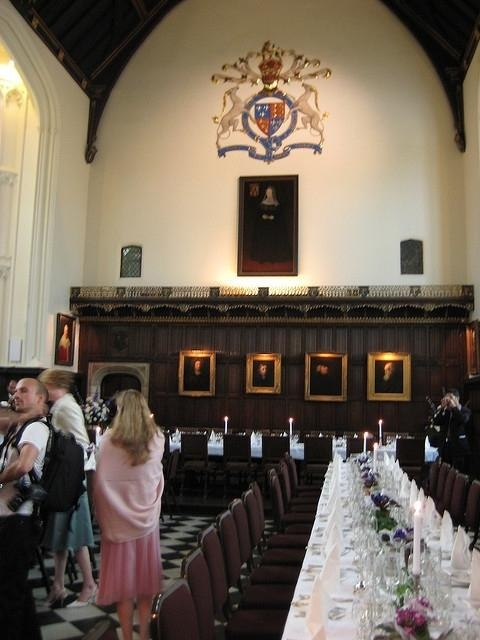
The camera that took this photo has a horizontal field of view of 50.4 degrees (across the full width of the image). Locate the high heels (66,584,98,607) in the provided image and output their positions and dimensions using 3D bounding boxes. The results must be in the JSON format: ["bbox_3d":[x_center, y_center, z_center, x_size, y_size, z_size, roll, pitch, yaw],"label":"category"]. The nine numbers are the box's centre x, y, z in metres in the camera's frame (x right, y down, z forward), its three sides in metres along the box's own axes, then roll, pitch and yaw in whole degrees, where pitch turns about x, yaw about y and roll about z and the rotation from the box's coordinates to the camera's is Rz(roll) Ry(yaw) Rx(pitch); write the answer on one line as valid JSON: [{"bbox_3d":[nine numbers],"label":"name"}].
[{"bbox_3d":[-1.273,2.258,4.172,0.266,0.121,0.095,-4,-26,11],"label":"high heels"}]

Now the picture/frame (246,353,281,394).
[{"bbox_3d":[0.566,1.256,11.910,0.849,0.981,0.071,0,-9,4],"label":"picture/frame"}]

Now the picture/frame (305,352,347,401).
[{"bbox_3d":[1.971,1.273,11.713,0.923,1.131,0.094,0,-24,11],"label":"picture/frame"}]

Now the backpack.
[{"bbox_3d":[-1.267,1.056,3.616,0.383,0.608,0.329,-11,-10,13],"label":"backpack"}]
